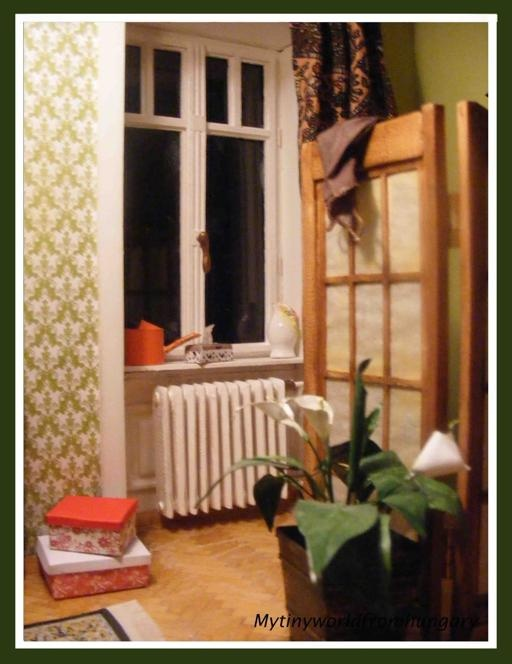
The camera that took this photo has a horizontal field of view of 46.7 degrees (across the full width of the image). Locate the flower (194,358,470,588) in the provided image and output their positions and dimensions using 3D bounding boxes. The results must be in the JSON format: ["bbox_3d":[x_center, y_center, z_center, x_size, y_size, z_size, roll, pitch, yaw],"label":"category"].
[{"bbox_3d":[0.150,0.256,1.212,0.471,0.443,0.467,13,4,7],"label":"flower"}]

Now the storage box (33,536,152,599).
[{"bbox_3d":[-0.505,0.716,1.828,0.356,0.123,0.216,1,2,-11],"label":"storage box"}]

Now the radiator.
[{"bbox_3d":[-0.196,0.421,2.291,0.511,0.507,0.133,-1,13,-5],"label":"radiator"}]
